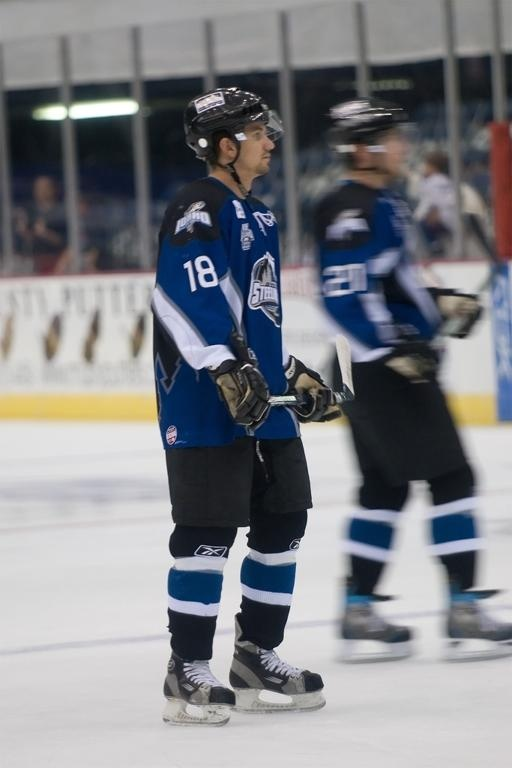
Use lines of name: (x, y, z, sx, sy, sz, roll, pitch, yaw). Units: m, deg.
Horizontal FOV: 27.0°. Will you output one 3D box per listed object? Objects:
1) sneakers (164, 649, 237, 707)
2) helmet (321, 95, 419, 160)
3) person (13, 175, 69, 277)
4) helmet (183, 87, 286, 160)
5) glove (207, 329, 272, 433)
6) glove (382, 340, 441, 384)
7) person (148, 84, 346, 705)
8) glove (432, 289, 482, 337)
sneakers: (-0.130, 0.633, 2.295, 0.175, 0.101, 0.057, -4, -8, 43)
helmet: (0.294, -0.704, 2.938, 0.203, 0.141, 0.154, -26, -7, 24)
person: (-1.954, -1.463, 9.723, 0.463, 0.883, 0.397, 0, 10, -10)
helmet: (-0.048, -0.573, 2.402, 0.230, 0.181, 0.165, -11, 15, 6)
glove: (-0.024, 0.002, 2.202, 0.105, 0.179, 0.072, -32, -7, 25)
glove: (0.397, -0.062, 2.791, 0.224, 0.110, 0.115, 2, 16, -1)
person: (-0.026, 0.044, 2.368, 0.414, 1.391, 0.463, 2, 10, 0)
glove: (0.537, -0.191, 2.880, 0.163, 0.126, 0.122, -7, 3, 4)
